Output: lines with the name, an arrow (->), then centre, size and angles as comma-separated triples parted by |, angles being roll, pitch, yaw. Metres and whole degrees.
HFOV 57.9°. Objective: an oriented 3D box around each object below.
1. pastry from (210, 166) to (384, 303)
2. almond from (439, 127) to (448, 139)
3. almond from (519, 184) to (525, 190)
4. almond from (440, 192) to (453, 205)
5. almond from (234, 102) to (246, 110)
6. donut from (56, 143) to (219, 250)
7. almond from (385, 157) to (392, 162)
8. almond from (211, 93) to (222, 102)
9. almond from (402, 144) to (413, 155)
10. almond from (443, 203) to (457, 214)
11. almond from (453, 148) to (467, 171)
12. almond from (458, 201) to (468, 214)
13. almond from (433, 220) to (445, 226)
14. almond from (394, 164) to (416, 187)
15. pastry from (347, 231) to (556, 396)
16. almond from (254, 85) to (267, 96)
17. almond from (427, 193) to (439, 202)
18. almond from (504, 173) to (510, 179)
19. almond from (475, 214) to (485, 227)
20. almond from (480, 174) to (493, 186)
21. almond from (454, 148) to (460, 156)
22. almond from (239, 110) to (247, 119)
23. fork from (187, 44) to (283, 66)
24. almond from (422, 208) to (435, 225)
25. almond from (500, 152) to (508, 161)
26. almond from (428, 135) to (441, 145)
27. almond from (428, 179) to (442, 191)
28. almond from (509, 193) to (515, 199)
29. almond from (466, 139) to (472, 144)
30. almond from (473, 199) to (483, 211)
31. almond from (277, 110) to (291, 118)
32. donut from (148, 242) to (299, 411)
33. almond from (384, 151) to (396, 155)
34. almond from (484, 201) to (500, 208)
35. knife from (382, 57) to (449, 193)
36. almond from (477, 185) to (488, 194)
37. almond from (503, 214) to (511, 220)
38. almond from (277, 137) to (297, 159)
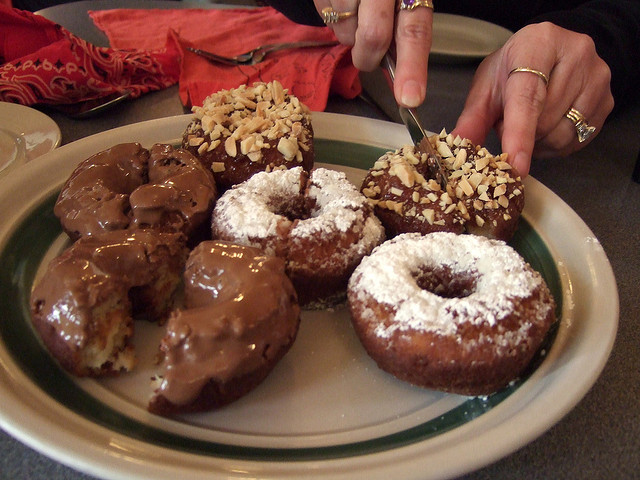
pastry -> -0.054, -0.033, 1.555 | 0.369, 0.191, 0.405 | 2, 34, -6
almond -> 0.380, -0.331, 1.783 | 0.024, 0.026, 0.030 | 2, 91, 3
almond -> 0.597, -0.153, 1.711 | 0.020, 0.009, 0.022 | -12, 25, 7
almond -> 0.352, -0.115, 1.607 | 0.028, 0.013, 0.033 | -18, 56, -17
almond -> -0.250, -0.409, 1.775 | 0.020, 0.010, 0.023 | 1, 78, -4
donut -> -0.500, -0.128, 1.628 | 0.441, 0.185, 0.351 | -3, 62, 4
almond -> 0.204, -0.238, 1.714 | 0.013, 0.004, 0.014 | -11, 29, 3
almond -> -0.326, -0.451, 1.823 | 0.032, 0.012, 0.036 | 3, 47, 3
almond -> 0.264, -0.273, 1.743 | 0.041, 0.020, 0.050 | -3, 38, 8
almond -> 0.360, -0.085, 1.595 | 0.017, 0.008, 0.034 | 14, 60, 38
almond -> 0.410, -0.234, 1.690 | 0.030, 0.019, 0.063 | 5, 58, 36
almond -> 0.395, -0.088, 1.608 | 0.018, 0.014, 0.031 | -25, 67, -16
almond -> 0.329, -0.046, 1.585 | 0.024, 0.007, 0.012 | 1, 32, -11
almond -> 0.241, -0.177, 1.637 | 0.047, 0.024, 0.064 | -14, 84, 31
pastry -> 0.299, 0.182, 1.401 | 0.388, 0.197, 0.429 | -1, 37, -3
almond -> -0.192, -0.477, 1.835 | 0.030, 0.011, 0.033 | -7, 43, -2
almond -> 0.315, -0.119, 1.611 | 0.021, 0.006, 0.023 | -35, 69, -24
almond -> 0.542, -0.185, 1.675 | 0.012, 0.005, 0.013 | -10, 36, -6
almond -> 0.447, -0.052, 1.617 | 0.020, 0.009, 0.028 | 4, 44, -35
almond -> 0.474, -0.168, 1.651 | 0.027, 0.009, 0.029 | 3, 63, -1
almond -> 0.406, -0.262, 1.719 | 0.010, 0.005, 0.022 | -8, 50, 36
almond -> -0.236, -0.384, 1.767 | 0.018, 0.005, 0.021 | -3, 66, -19
fork -> -0.357, -0.775, 2.420 | 0.380, 0.067, 0.066 | -9, 40, -25
almond -> 0.305, -0.062, 1.584 | 0.026, 0.012, 0.038 | -7, 68, 1
almond -> 0.552, -0.249, 1.740 | 0.024, 0.004, 0.024 | -27, 87, -27
almond -> 0.351, -0.307, 1.772 | 0.036, 0.013, 0.039 | -5, 33, -2
almond -> 0.324, -0.152, 1.630 | 0.029, 0.012, 0.032 | 14, 33, -5
almond -> 0.551, -0.126, 1.653 | 0.011, 0.003, 0.009 | -9, 66, -14
almond -> 0.457, -0.304, 1.771 | 0.022, 0.008, 0.023 | -3, 22, -16
almond -> 0.446, -0.098, 1.626 | 0.024, 0.022, 0.024 | 16, 63, 21
almond -> -0.115, -0.389, 1.777 | 0.024, 0.006, 0.027 | 3, 42, 7
donut -> -0.219, 0.175, 1.513 | 0.334, 0.191, 0.588 | 1, 34, -2
almond -> 0.219, -0.268, 1.785 | 0.023, 0.009, 0.025 | -1, 14, 2
almond -> 0.487, -0.098, 1.631 | 0.021, 0.007, 0.022 | -1, 66, -4
knife -> 0.298, -0.355, 1.840 | 0.068, 0.030, 0.630 | -21, 87, -57
almond -> 0.471, -0.144, 1.660 | 0.021, 0.005, 0.025 | 7, 66, 1
almond -> 0.528, -0.064, 1.635 | 0.015, 0.004, 0.014 | -17, 44, -21
almond -> -0.101, -0.275, 1.756 | 0.051, 0.025, 0.054 | 43, 44, -4
